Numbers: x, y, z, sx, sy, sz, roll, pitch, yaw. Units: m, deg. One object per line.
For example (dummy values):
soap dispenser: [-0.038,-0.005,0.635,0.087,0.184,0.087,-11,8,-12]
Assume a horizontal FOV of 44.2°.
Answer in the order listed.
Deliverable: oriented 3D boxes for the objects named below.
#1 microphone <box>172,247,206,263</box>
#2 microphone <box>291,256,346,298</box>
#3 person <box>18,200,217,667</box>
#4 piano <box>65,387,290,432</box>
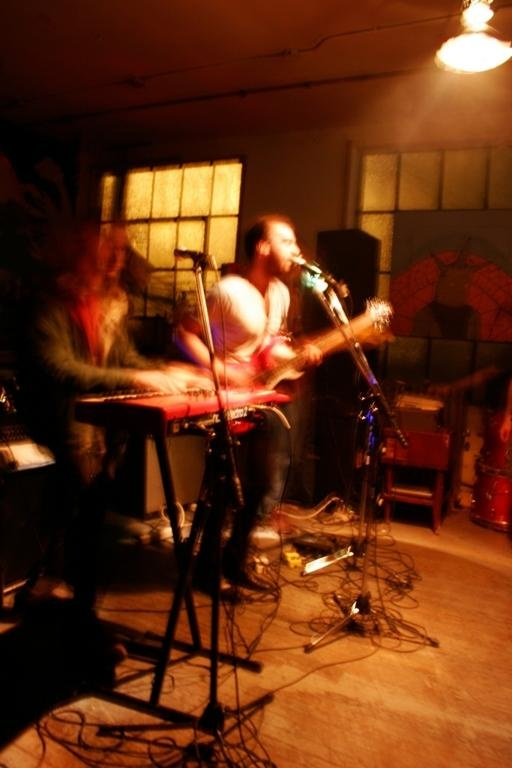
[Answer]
microphone: [-0.175,-0.329,1.622,0.036,0.034,0.123,-36,39,-31]
microphone: [0.218,-0.370,2.149,0.194,0.148,0.209,4,5,11]
person: [-0.626,0.076,3.173,1.097,2.692,1.086,0,1,-5]
piano: [-0.185,0.056,1.815,0.339,0.104,0.618,7,6,36]
